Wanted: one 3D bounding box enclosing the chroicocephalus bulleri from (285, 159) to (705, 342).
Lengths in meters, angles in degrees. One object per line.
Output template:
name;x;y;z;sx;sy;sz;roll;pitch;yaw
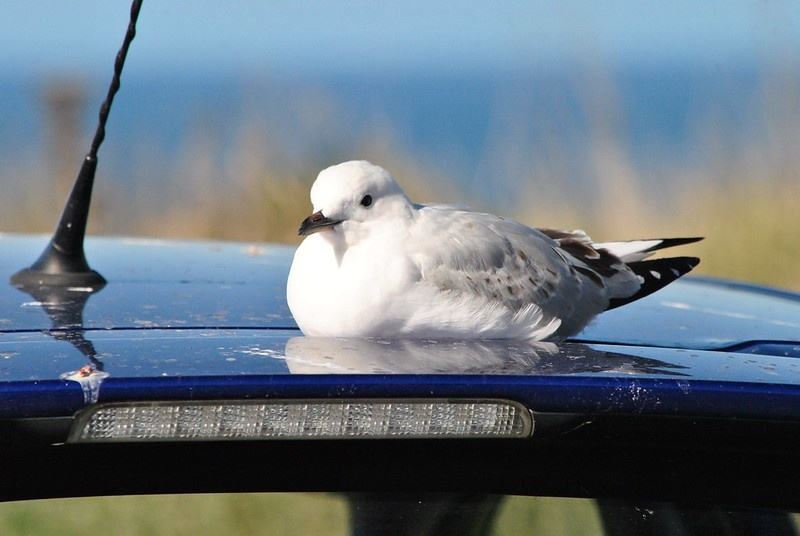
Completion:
chroicocephalus bulleri;0.223;-0.010;4.052;1.300;0.528;0.588;1;-13;-23
